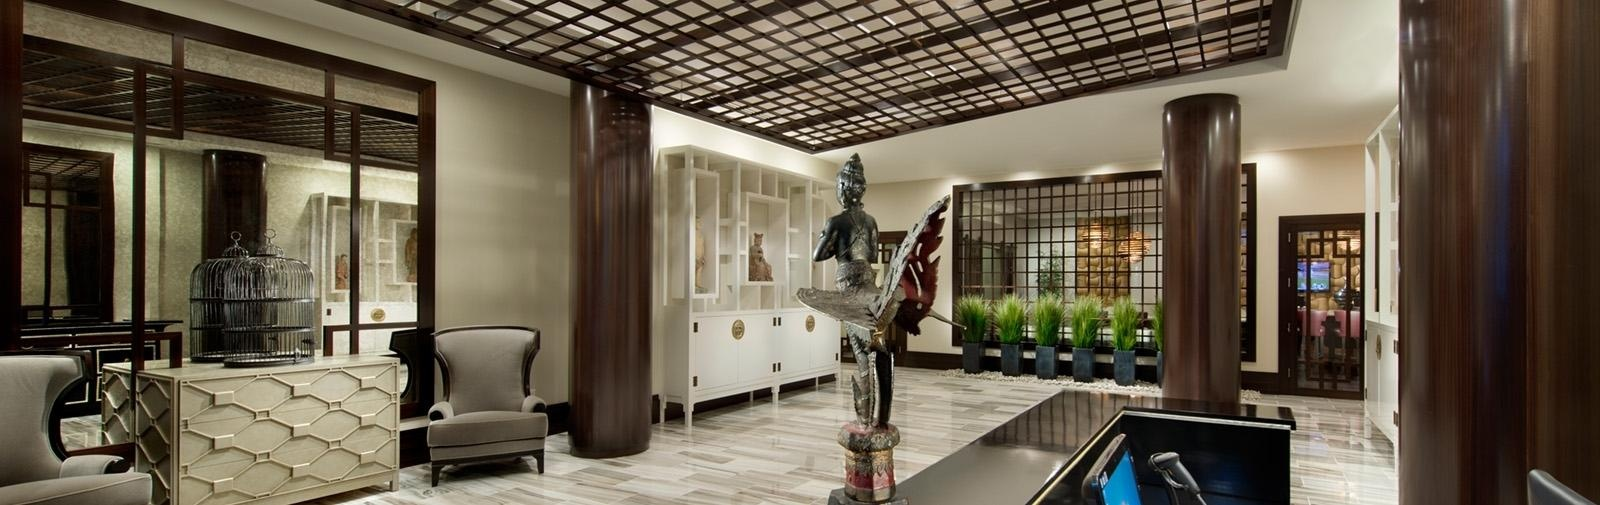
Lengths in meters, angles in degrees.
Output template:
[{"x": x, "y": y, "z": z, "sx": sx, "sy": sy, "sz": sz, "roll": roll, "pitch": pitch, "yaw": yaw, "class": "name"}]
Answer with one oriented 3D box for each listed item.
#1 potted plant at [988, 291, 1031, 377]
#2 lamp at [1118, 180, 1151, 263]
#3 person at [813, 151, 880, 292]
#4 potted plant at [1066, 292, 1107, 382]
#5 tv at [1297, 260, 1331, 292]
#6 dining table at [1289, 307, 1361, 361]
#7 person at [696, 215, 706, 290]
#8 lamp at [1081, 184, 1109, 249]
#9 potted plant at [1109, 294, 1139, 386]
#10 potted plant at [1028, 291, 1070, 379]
[{"x": 5.143, "y": 2.005, "z": 18.634, "sx": 0.797, "sy": 1.920, "sz": 0.465, "roll": -3, "pitch": -6, "yaw": 22, "class": "potted plant"}, {"x": 8.121, "y": -0.618, "z": 18.454, "sx": 0.810, "sy": 1.783, "sz": 0.539, "roll": 0, "pitch": -5, "yaw": -8, "class": "lamp"}, {"x": 0.776, "y": -0.470, "z": 12.449, "sx": 0.909, "sy": 2.239, "sz": 0.685, "roll": -1, "pitch": -5, "yaw": 1, "class": "person"}, {"x": 6.857, "y": 2.033, "z": 18.085, "sx": 0.769, "sy": 1.968, "sz": 0.419, "roll": 2, "pitch": -6, "yaw": -27, "class": "potted plant"}, {"x": 11.637, "y": 0.525, "z": 17.147, "sx": 1.080, "sy": 0.708, "sz": 0.099, "roll": 0, "pitch": -10, "yaw": 31, "class": "tv"}, {"x": 12.073, "y": 1.820, "z": 17.547, "sx": 1.631, "sy": 1.345, "sz": 1.416, "roll": 2, "pitch": 3, "yaw": 41, "class": "dining table"}, {"x": -2.096, "y": 0.069, "z": 15.953, "sx": 0.195, "sy": 1.452, "sz": 0.204, "roll": -1, "pitch": -5, "yaw": -5, "class": "person"}, {"x": 7.248, "y": -0.866, "z": 18.629, "sx": 0.586, "sy": 1.603, "sz": 0.362, "roll": -3, "pitch": -5, "yaw": 16, "class": "lamp"}, {"x": 7.640, "y": 2.081, "z": 17.840, "sx": 0.586, "sy": 1.942, "sz": 0.499, "roll": -3, "pitch": -5, "yaw": 18, "class": "potted plant"}, {"x": 5.994, "y": 2.004, "z": 18.272, "sx": 0.695, "sy": 1.963, "sz": 0.317, "roll": -2, "pitch": -5, "yaw": 11, "class": "potted plant"}]
